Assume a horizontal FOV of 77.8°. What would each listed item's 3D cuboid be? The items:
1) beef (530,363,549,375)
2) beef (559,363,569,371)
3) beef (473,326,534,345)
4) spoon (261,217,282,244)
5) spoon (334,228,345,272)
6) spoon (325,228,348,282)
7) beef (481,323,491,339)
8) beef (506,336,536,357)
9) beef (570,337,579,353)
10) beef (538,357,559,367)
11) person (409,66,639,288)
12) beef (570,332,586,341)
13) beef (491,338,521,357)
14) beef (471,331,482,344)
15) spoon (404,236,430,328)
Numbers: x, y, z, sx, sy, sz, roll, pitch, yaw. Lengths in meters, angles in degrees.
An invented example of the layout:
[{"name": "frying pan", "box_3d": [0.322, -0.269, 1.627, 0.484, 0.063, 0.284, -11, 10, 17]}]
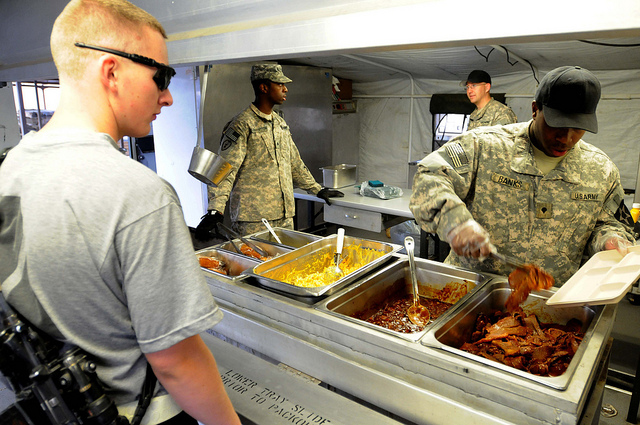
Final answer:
[{"name": "beef", "box_3d": [0.875, 0.623, 1.587, 0.052, 0.019, 0.049, -7, 3, -32]}, {"name": "beef", "box_3d": [0.980, 0.615, 1.596, 0.029, 0.006, 0.027, -17, 14, -26]}, {"name": "beef", "box_3d": [0.802, 0.518, 1.734, 0.328, 0.023, 0.092, -9, 5, -25]}, {"name": "spoon", "box_3d": [-0.376, 0.135, 2.977, 0.033, 0.281, 0.037, -38, 52, -1]}, {"name": "spoon", "box_3d": [0.121, 0.231, 2.456, 0.053, 0.253, 0.052, 5, -6, 2]}, {"name": "spoon", "box_3d": [0.094, 0.263, 2.435, 0.099, 0.313, 0.044, 7, -19, 13]}, {"name": "beef", "box_3d": [0.743, 0.526, 1.782, 0.020, 0.051, 0.038, 32, 78, 30]}, {"name": "beef", "box_3d": [0.854, 0.556, 1.665, 0.073, 0.020, 0.069, -1, 20, -7]}, {"name": "beef", "box_3d": [1.060, 0.547, 1.655, 0.015, 0.015, 0.062, 12, 23, 16]}, {"name": "beef", "box_3d": [0.937, 0.601, 1.601, 0.037, 0.011, 0.036, -17, 18, 22]}, {"name": "person", "box_3d": [1.023, -0.143, 1.947, 1.145, 1.061, 0.672, -3, 17, -3]}, {"name": "beef", "box_3d": [1.115, 0.526, 1.716, 0.043, 0.012, 0.046, 1, 11, 40]}, {"name": "beef", "box_3d": [0.784, 0.561, 1.657, 0.066, 0.017, 0.057, 2, 23, 15]}, {"name": "beef", "box_3d": [0.697, 0.552, 1.779, 0.044, 0.010, 0.047, -40, 9, 37]}, {"name": "spoon", "box_3d": [0.483, 0.349, 2.026, 0.113, 0.463, 0.069, 1, -14, -20]}]
